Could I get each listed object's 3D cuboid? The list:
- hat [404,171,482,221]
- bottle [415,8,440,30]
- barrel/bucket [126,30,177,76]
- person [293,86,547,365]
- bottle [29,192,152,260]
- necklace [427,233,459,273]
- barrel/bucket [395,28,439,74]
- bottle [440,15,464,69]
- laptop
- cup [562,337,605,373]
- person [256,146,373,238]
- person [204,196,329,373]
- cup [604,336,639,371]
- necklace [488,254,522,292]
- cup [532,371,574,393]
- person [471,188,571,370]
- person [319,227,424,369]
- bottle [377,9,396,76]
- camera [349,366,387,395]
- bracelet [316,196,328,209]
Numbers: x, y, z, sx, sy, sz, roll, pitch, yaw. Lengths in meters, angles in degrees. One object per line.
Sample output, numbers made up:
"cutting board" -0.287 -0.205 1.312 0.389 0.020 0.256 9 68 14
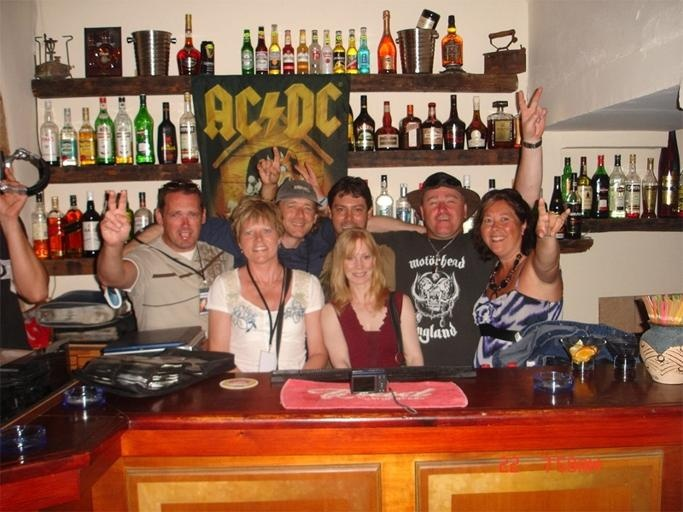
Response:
"hat" 0.635 -0.378 4.084 0.428 0.178 0.467 -1 -9 13
"bottle" 0.600 -1.641 4.443 0.136 0.127 0.137 -1 8 3
"barrel/bucket" -1.294 -1.400 4.489 0.434 0.323 0.309 -2 12 -6
"person" 0.528 -0.062 3.814 1.370 1.665 0.462 -5 26 -1
"bottle" -1.657 -0.177 4.126 0.528 0.303 0.103 -1 -3 -9
"necklace" 0.598 -0.008 3.730 0.237 0.269 0.020 4 -17 22
"barrel/bucket" 0.520 -1.434 4.539 0.382 0.276 0.316 0 7 -2
"bottle" 0.784 -1.530 4.605 0.140 0.394 0.169 -6 10 -31
"laptop" -0.872 0.424 2.988 0.481 0.106 0.420 -4 8 -21
"cup" 1.055 0.415 2.765 0.171 0.112 0.155 0 -2 -2
"person" -0.207 -0.420 4.108 0.826 0.401 0.512 6 22 15
"person" -0.381 0.143 3.212 0.592 0.854 0.374 -2 9 -8
"cup" 1.272 0.435 2.847 0.148 0.099 0.138 0 1 0
"necklace" 0.896 0.102 3.448 0.036 0.200 0.160 27 26 -12
"cup" 0.890 0.516 2.653 0.143 0.066 0.161 5 10 38
"person" 0.922 0.127 3.339 0.453 0.931 0.521 1 9 17
"person" 0.128 0.242 3.301 0.499 0.704 0.259 -6 -8 -13
"bottle" 0.334 -1.551 4.653 0.147 0.480 0.384 -1 8 4
"camera" 0.109 0.520 2.641 0.133 0.087 0.092 3 -4 -3
"bracelet" -0.123 -0.347 4.153 0.065 0.081 0.033 4 -24 -25
